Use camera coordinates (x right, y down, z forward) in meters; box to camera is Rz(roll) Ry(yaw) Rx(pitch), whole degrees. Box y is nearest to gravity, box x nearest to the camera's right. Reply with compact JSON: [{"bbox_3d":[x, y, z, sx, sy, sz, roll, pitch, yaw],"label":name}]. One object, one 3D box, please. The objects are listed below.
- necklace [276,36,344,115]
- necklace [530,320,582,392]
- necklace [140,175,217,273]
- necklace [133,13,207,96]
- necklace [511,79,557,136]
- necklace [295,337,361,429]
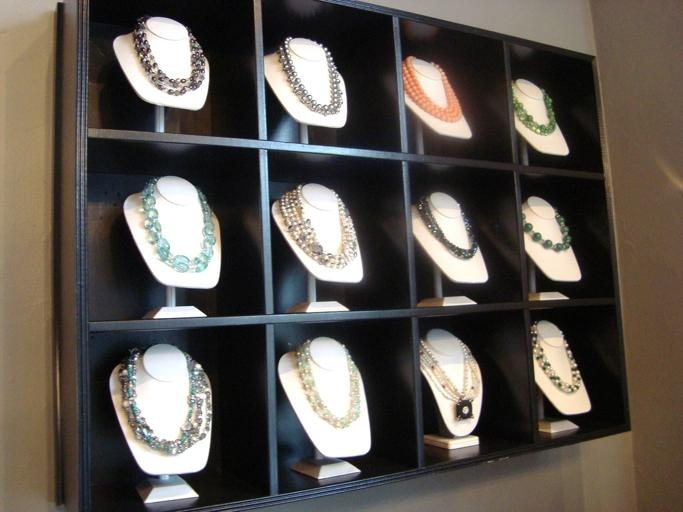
[{"bbox_3d":[-0.096,-0.572,2.206,0.203,0.255,0.120,-2,5,-3],"label":"necklace"},{"bbox_3d":[0.727,0.383,2.489,0.165,0.252,0.049,-13,-18,-40],"label":"necklace"},{"bbox_3d":[-0.468,-0.092,2.021,0.207,0.269,0.149,-3,5,-17],"label":"necklace"},{"bbox_3d":[-0.486,-0.604,2.013,0.183,0.276,0.050,-2,-13,-39],"label":"necklace"},{"bbox_3d":[0.701,-0.574,2.633,0.173,0.231,0.056,-11,-8,-34],"label":"necklace"},{"bbox_3d":[-0.036,0.386,2.125,0.199,0.238,0.159,-2,5,-3],"label":"necklace"}]
